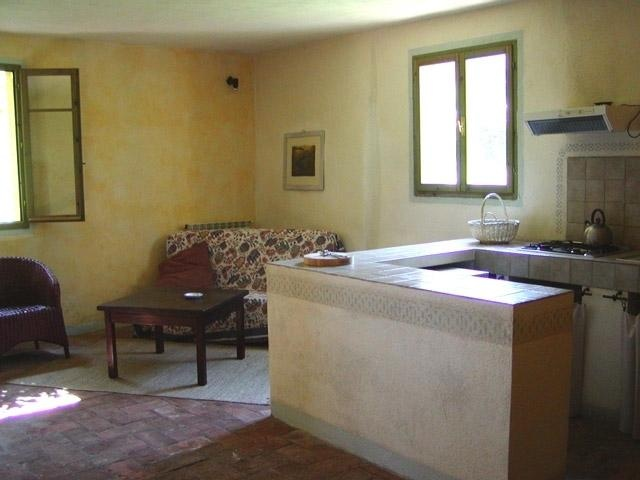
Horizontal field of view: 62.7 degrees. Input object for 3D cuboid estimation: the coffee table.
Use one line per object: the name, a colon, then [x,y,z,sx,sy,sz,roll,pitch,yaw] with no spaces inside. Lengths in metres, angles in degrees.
coffee table: [-1.342,0.843,4.969,1.115,0.680,0.877,1,9,13]

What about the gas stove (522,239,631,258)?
gas stove: [1.964,0.059,4.083,0.703,0.058,0.471,4,9,27]

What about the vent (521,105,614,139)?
vent: [2.156,-0.922,4.264,0.577,0.172,0.804,6,6,-30]

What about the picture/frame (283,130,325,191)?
picture/frame: [-0.199,-0.994,6.546,0.709,0.695,0.052,7,9,40]

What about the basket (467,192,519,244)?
basket: [1.535,-0.189,4.589,0.472,0.415,0.409,-5,6,-38]

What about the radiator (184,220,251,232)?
radiator: [-1.275,-0.171,6.847,0.904,0.121,0.083,-9,1,-37]

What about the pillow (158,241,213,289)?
pillow: [-1.524,0.291,5.957,0.631,0.459,0.464,-3,9,-14]

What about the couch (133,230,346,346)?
couch: [-1.481,0.432,6.914,1.612,1.416,2.995,10,-4,-16]
